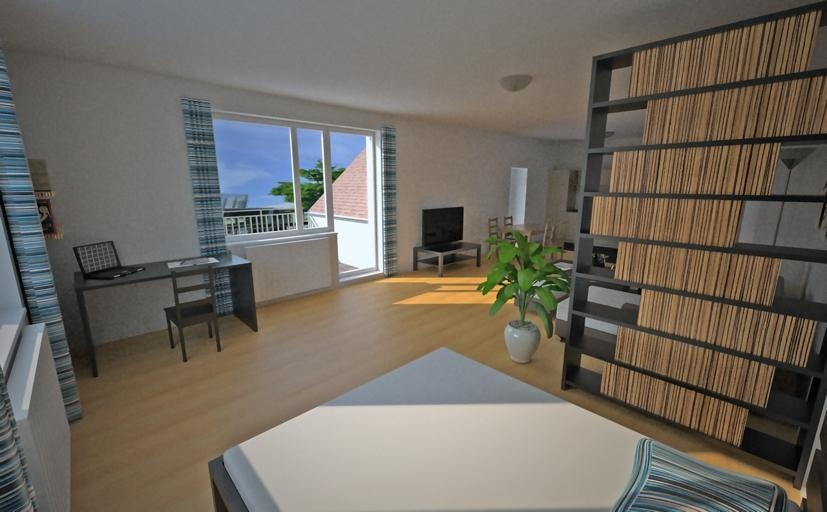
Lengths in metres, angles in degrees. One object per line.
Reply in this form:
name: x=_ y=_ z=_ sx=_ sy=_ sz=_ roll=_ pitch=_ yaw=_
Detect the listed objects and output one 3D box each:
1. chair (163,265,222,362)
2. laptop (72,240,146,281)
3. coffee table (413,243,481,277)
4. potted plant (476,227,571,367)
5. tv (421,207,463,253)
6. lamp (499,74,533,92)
chair: x=-2.553 y=0.575 z=5.587 sx=0.618 sy=1.007 sz=0.952 roll=-7 pitch=12 yaw=-27
laptop: x=-3.289 y=0.071 z=5.169 sx=0.337 sy=0.483 sz=0.516 roll=-15 pitch=2 yaw=26
coffee table: x=0.668 y=-0.009 z=8.730 sx=1.351 sy=0.472 sz=0.804 roll=-10 pitch=13 yaw=-43
potted plant: x=1.200 y=0.492 z=5.221 sx=1.041 sy=1.311 sz=1.052 roll=-8 pitch=17 yaw=-34
tv: x=0.477 y=-0.480 z=8.619 sx=0.090 sy=0.492 sz=0.873 roll=13 pitch=18 yaw=42
lamp: x=1.253 y=-2.070 z=5.767 sx=0.367 sy=0.145 sz=0.611 roll=2 pitch=10 yaw=17
